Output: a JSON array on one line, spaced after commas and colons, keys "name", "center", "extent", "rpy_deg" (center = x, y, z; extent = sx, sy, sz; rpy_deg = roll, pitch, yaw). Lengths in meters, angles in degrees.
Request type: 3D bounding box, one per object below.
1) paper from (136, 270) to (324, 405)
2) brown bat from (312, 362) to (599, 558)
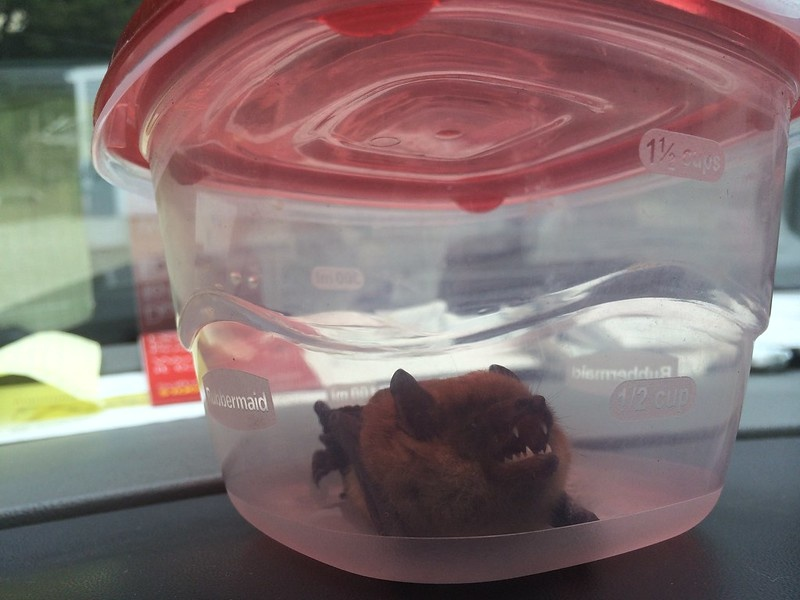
[{"name": "paper", "center": [-0.174, 0.055, 1.013], "extent": [0.244, 0.085, 0.181], "rpy_deg": [1, -8, -11]}, {"name": "brown bat", "center": [0.055, 0.153, 0.913], "extent": [0.166, 0.093, 0.205], "rpy_deg": [8, -9, -28]}]
